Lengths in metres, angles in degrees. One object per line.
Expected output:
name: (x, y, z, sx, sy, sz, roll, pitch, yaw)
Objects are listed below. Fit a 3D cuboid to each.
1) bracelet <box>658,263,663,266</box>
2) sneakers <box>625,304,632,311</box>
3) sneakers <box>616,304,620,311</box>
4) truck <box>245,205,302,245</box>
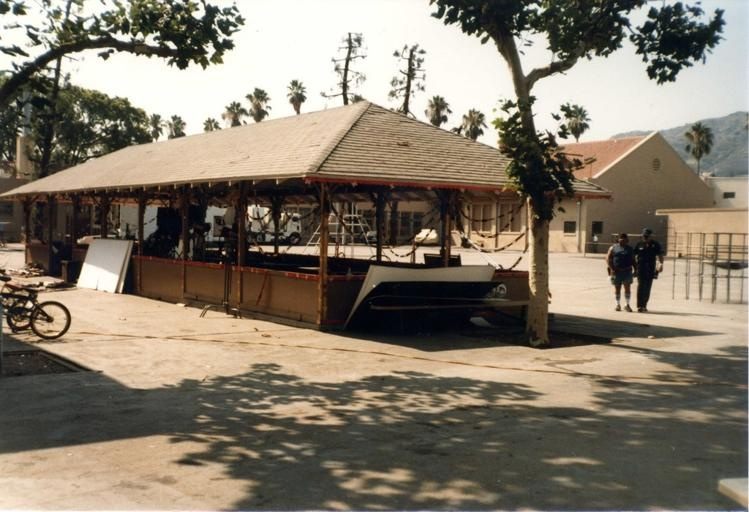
bracelet: (9.249, 0.271, 22.164, 0.171, 0.150, 0.040, 2, 1, -16)
sneakers: (7.279, 1.518, 19.678, 0.108, 0.126, 0.305, -2, -4, -6)
sneakers: (7.014, 1.505, 19.729, 0.144, 0.166, 0.126, -8, -15, 42)
truck: (-5.682, -1.638, 38.582, 3.437, 1.863, 1.874, 2, 4, 2)
